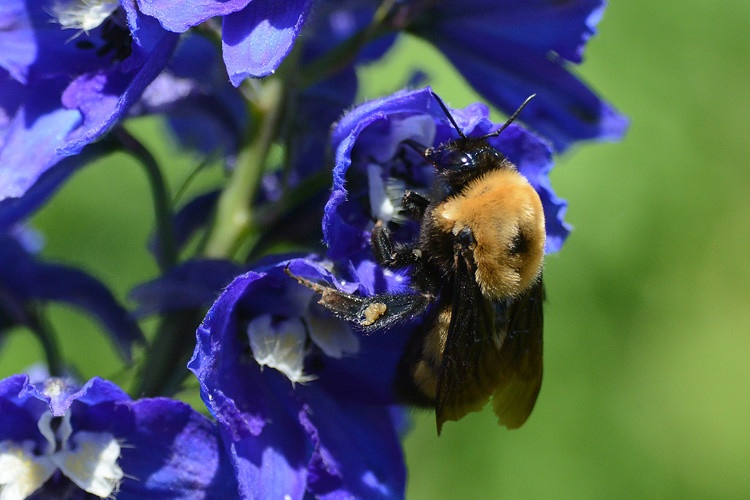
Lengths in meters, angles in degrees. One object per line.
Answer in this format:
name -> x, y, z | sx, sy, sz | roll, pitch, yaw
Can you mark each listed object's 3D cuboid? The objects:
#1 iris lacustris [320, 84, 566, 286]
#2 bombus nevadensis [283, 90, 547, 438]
iris lacustris -> 0.154, -0.086, 2.177 | 0.592, 0.469, 0.299 | 23, -24, -23
bombus nevadensis -> 0.123, 0.107, 2.297 | 0.240, 0.868, 0.575 | -2, -6, 36
